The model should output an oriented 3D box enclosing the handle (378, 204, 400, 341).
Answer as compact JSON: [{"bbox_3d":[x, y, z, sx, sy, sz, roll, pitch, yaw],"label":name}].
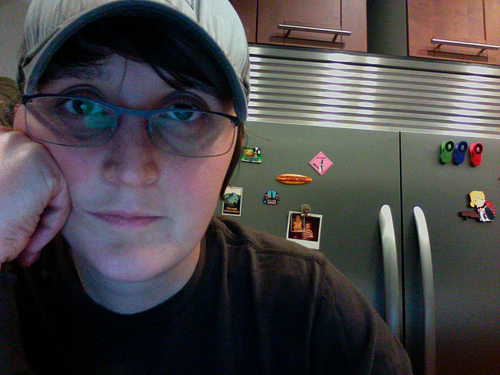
[{"bbox_3d":[0.581,0.346,1.863,0.070,0.533,0.157,2,4,-14],"label":"handle"}]

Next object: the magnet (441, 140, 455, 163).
[{"bbox_3d":[0.860,-0.154,1.963,0.058,0.090,0.029,2,5,-6],"label":"magnet"}]

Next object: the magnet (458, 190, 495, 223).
[{"bbox_3d":[0.982,0.086,1.967,0.137,0.127,0.021,1,0,2],"label":"magnet"}]

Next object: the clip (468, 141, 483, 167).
[{"bbox_3d":[0.993,-0.143,1.989,0.055,0.105,0.045,0,6,-6],"label":"clip"}]

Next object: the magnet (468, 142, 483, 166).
[{"bbox_3d":[0.997,-0.146,1.987,0.055,0.100,0.044,-5,7,-12],"label":"magnet"}]

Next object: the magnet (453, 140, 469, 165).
[{"bbox_3d":[0.923,-0.154,1.981,0.054,0.107,0.038,2,9,-7],"label":"magnet"}]

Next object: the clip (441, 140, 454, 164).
[{"bbox_3d":[0.856,-0.154,1.964,0.058,0.093,0.029,0,8,-12],"label":"clip"}]

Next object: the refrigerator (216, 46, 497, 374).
[{"bbox_3d":[0.397,0.109,1.706,1.213,1.214,0.483,4,-12,-5],"label":"refrigerator"}]

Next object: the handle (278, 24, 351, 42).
[{"bbox_3d":[0.298,-0.714,2.082,0.353,0.059,0.095,3,5,-6],"label":"handle"}]
